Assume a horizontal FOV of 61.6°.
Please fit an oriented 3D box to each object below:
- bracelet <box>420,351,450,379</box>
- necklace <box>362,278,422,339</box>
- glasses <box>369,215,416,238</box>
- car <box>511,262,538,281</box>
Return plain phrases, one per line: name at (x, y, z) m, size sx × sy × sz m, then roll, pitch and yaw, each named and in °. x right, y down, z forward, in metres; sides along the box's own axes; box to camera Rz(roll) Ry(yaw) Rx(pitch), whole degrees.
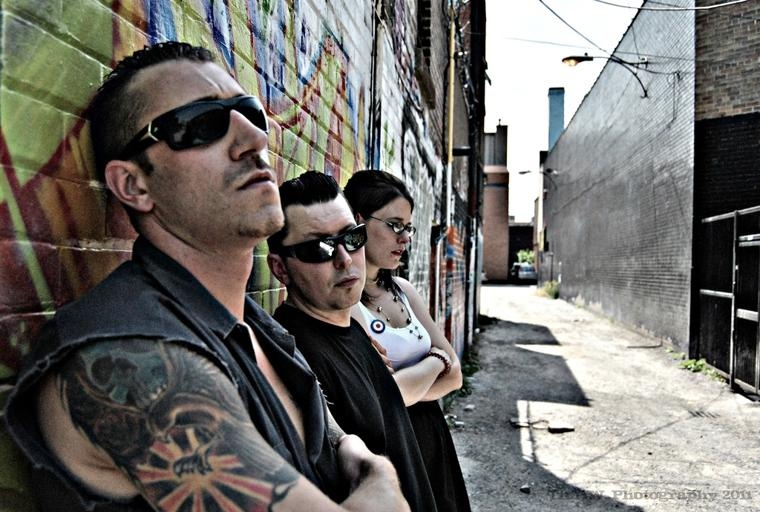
bracelet at (0.320, 0.601, 3.532) m, size 0.123 × 0.075 × 0.150 m, roll 2°, pitch -5°, yaw 38°
necklace at (0.064, 0.301, 3.465) m, size 0.155 × 0.312 × 0.214 m, roll -20°, pitch 4°, yaw 33°
glasses at (0.089, -0.166, 3.524) m, size 0.134 × 0.047 × 0.140 m, roll 22°, pitch 1°, yaw 21°
car at (9.328, 1.155, 41.597) m, size 0.985 × 1.194 × 2.248 m, roll 0°, pitch 2°, yaw -19°
